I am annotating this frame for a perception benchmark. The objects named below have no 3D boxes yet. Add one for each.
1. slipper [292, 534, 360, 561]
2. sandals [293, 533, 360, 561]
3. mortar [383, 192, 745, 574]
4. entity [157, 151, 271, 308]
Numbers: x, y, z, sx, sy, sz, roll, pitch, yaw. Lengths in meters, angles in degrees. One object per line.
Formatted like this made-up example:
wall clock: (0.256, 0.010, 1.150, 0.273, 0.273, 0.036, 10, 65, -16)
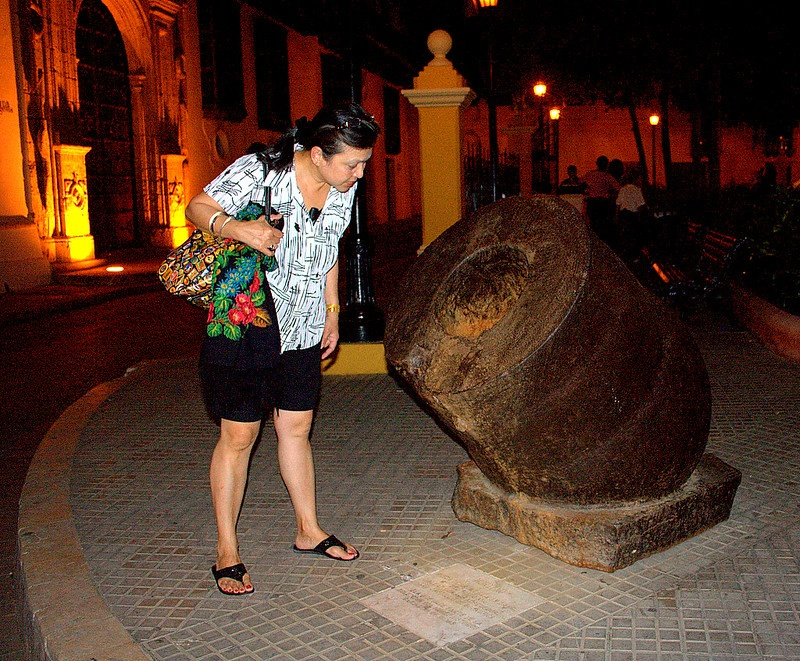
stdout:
slipper: (-0.321, 0.917, 2.824, 0.257, 0.071, 0.104, 0, 4, 29)
sandals: (-0.337, 0.923, 2.839, 0.258, 0.073, 0.104, 0, 3, 29)
mortar: (0.748, 0.179, 3.056, 1.468, 1.571, 1.175, -10, 12, -27)
entity: (-0.656, -0.329, 2.546, 0.407, 0.536, 0.226, 35, -5, 4)
